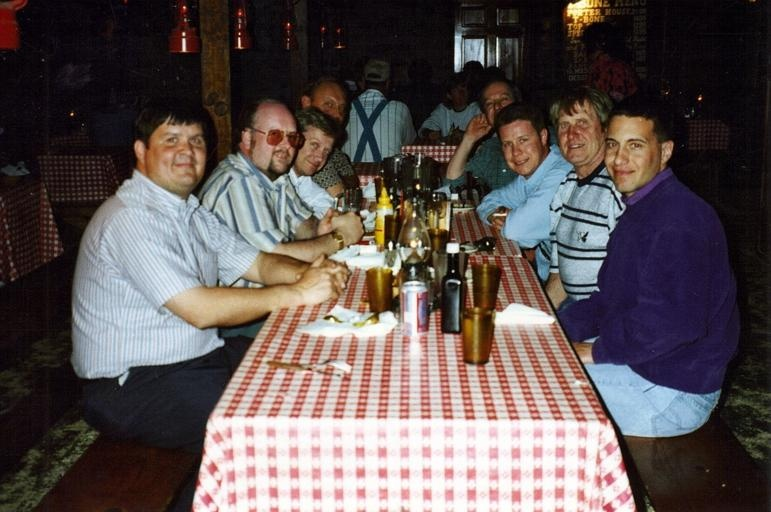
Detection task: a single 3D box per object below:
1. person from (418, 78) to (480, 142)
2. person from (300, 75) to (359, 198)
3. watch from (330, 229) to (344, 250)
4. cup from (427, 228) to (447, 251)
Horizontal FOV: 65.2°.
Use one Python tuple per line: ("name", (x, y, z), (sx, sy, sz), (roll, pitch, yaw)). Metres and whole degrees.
("person", (0.928, -1.807, 7.772), (0.864, 0.938, 0.652), (4, 6, 23))
("person", (-0.482, -1.079, 5.414), (0.441, 1.366, 0.542), (-4, -25, -4))
("watch", (-0.275, -0.089, 3.486), (0.022, 0.085, 0.090), (-15, 7, -19))
("cup", (0.268, -0.083, 3.175), (0.117, 0.117, 0.105), (0, 9, -6))
